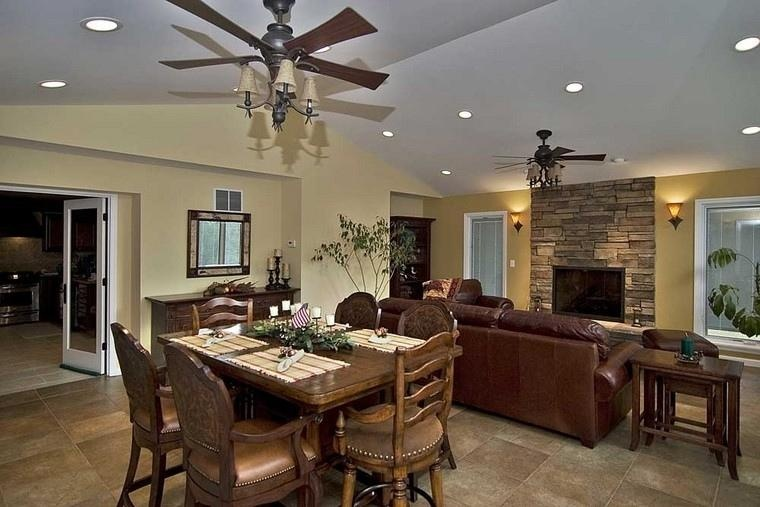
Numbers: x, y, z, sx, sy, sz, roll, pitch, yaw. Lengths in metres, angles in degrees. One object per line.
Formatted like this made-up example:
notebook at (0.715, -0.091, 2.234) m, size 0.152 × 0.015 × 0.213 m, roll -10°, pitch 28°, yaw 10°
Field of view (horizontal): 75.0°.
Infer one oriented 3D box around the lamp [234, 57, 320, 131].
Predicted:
lamp at (-0.877, -1.338, 4.285) m, size 0.710 × 0.511 × 0.682 m, roll 1°, pitch 0°, yaw -32°

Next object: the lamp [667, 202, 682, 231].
lamp at (4.481, -0.565, 7.519) m, size 0.209 × 0.395 × 0.110 m, roll 1°, pitch 1°, yaw 27°

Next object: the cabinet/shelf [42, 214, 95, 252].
cabinet/shelf at (-4.929, -0.339, 7.818) m, size 0.850 × 0.767 × 0.292 m, roll 0°, pitch 0°, yaw -41°

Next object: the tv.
tv at (3.475, 0.646, 8.100) m, size 0.983 × 0.697 × 0.108 m, roll -2°, pitch -4°, yaw 44°

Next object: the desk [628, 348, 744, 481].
desk at (2.985, 1.541, 4.860) m, size 0.919 × 1.082 × 0.686 m, roll 1°, pitch 0°, yaw 34°

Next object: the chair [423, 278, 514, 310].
chair at (1.365, 0.622, 7.789) m, size 0.742 × 0.584 × 0.779 m, roll -5°, pitch -3°, yaw 29°

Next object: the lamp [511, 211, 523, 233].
lamp at (2.512, -0.573, 9.088) m, size 0.185 × 0.370 × 0.102 m, roll 1°, pitch 1°, yaw 45°

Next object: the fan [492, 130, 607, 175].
fan at (2.372, -1.263, 6.474) m, size 0.955 × 0.348 × 0.895 m, roll 5°, pitch 7°, yaw 41°
